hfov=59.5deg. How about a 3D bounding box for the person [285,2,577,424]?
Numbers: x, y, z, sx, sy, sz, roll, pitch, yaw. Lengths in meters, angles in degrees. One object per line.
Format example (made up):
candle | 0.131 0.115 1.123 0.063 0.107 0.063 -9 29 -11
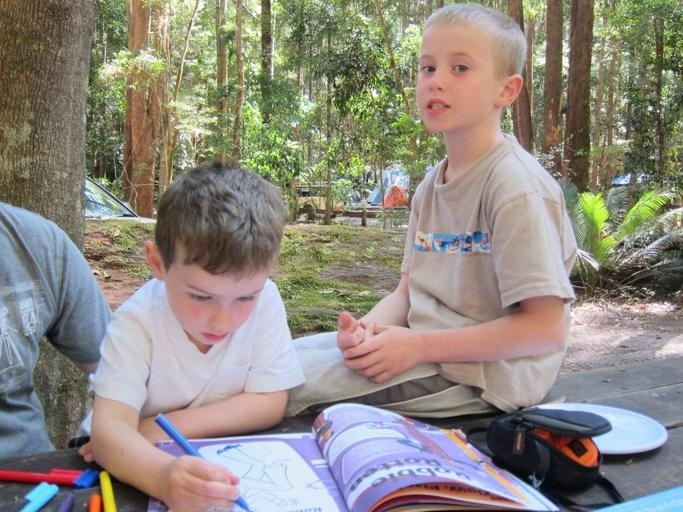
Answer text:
person | 0.388 -0.182 2.257 0.947 1.565 0.591 3 3 23

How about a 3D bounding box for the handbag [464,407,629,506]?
handbag | 0.663 0.588 1.828 0.337 0.162 0.205 13 14 40

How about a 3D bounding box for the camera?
camera | 0.653 0.599 1.902 0.283 0.235 0.364 0 4 -23
